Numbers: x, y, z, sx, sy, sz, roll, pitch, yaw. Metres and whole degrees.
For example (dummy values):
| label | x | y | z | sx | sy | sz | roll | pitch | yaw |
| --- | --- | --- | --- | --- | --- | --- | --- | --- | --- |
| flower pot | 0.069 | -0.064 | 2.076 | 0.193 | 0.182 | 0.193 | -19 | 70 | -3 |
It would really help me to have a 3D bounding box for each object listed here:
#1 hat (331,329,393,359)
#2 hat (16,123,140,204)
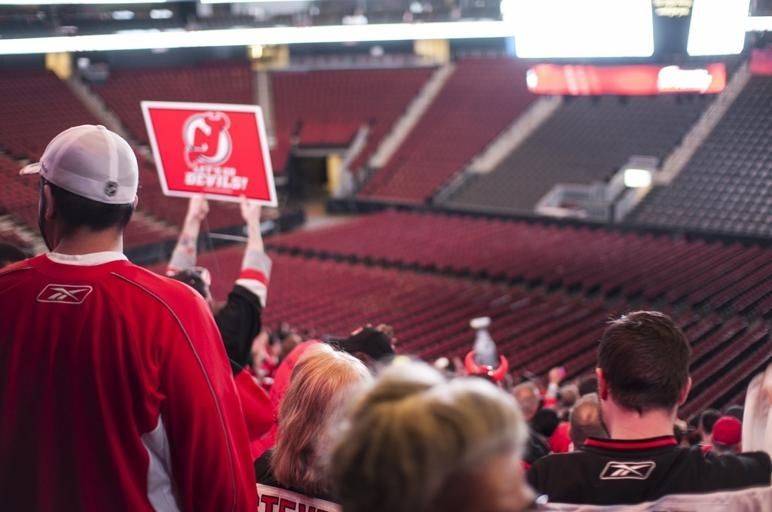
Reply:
| label | x | y | z | sx | sy | sz | roll | pitch | yaw |
| --- | --- | --- | --- | --- | --- | --- | --- | --- | --- |
| hat | -0.092 | 0.334 | 2.889 | 0.260 | 0.116 | 0.204 | 7 | 5 | -5 |
| hat | -0.929 | -0.311 | 2.287 | 0.397 | 0.199 | 0.299 | 26 | 15 | 38 |
